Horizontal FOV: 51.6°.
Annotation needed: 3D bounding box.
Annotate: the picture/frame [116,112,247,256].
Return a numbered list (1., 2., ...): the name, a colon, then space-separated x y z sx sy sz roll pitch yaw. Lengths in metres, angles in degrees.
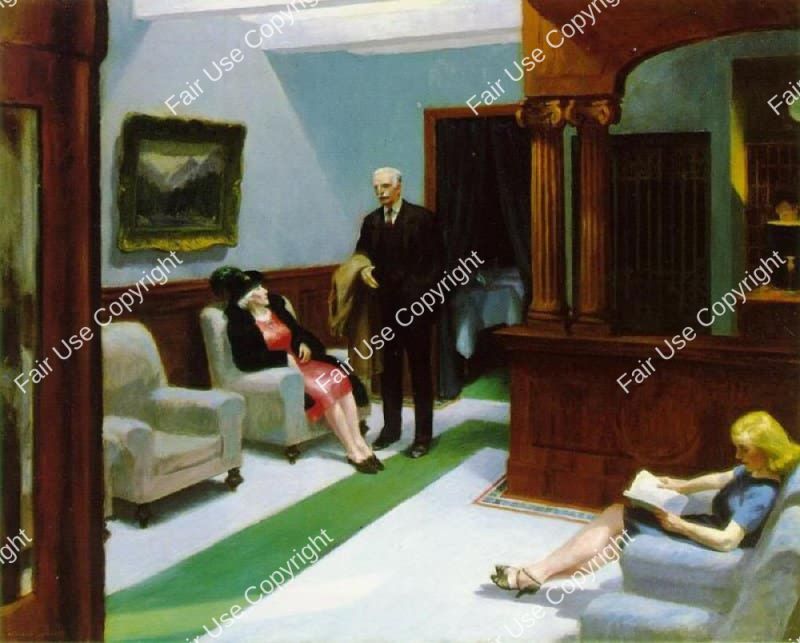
1. picture/frame: -1.568 -0.980 5.830 0.072 0.862 0.931 5 10 28

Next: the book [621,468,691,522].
1. book: 1.240 0.851 4.027 0.261 0.121 0.284 13 -26 29

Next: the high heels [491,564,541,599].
1. high heels: 0.580 1.281 4.124 0.128 0.094 0.246 -22 28 -40

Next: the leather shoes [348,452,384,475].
1. leather shoes: -0.229 0.995 5.788 0.148 0.062 0.114 4 9 28

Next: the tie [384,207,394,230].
1. tie: -0.080 -0.749 5.913 0.071 0.120 0.028 -4 -4 26

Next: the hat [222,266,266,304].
1. hat: -1.093 -0.264 5.841 0.201 0.246 0.214 24 8 -1
